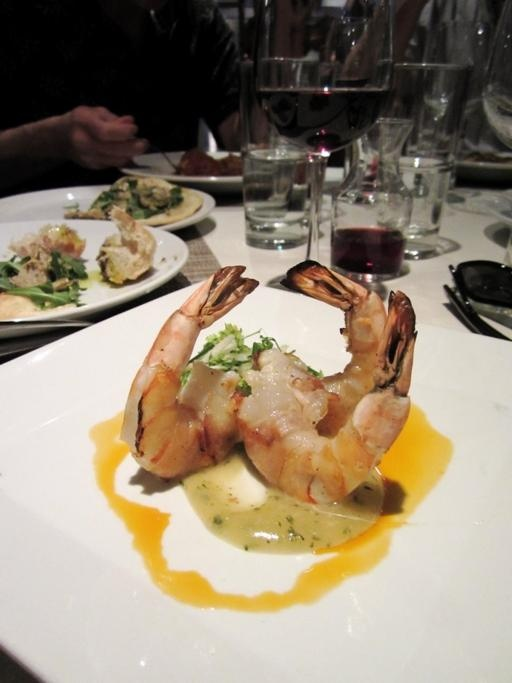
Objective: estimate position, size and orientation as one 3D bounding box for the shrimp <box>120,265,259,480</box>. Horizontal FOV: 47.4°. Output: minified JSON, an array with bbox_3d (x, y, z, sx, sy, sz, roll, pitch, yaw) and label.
[{"bbox_3d":[-0.111,0.048,0.952,0.204,0.342,0.096,12,6,-9],"label":"shrimp"}]
